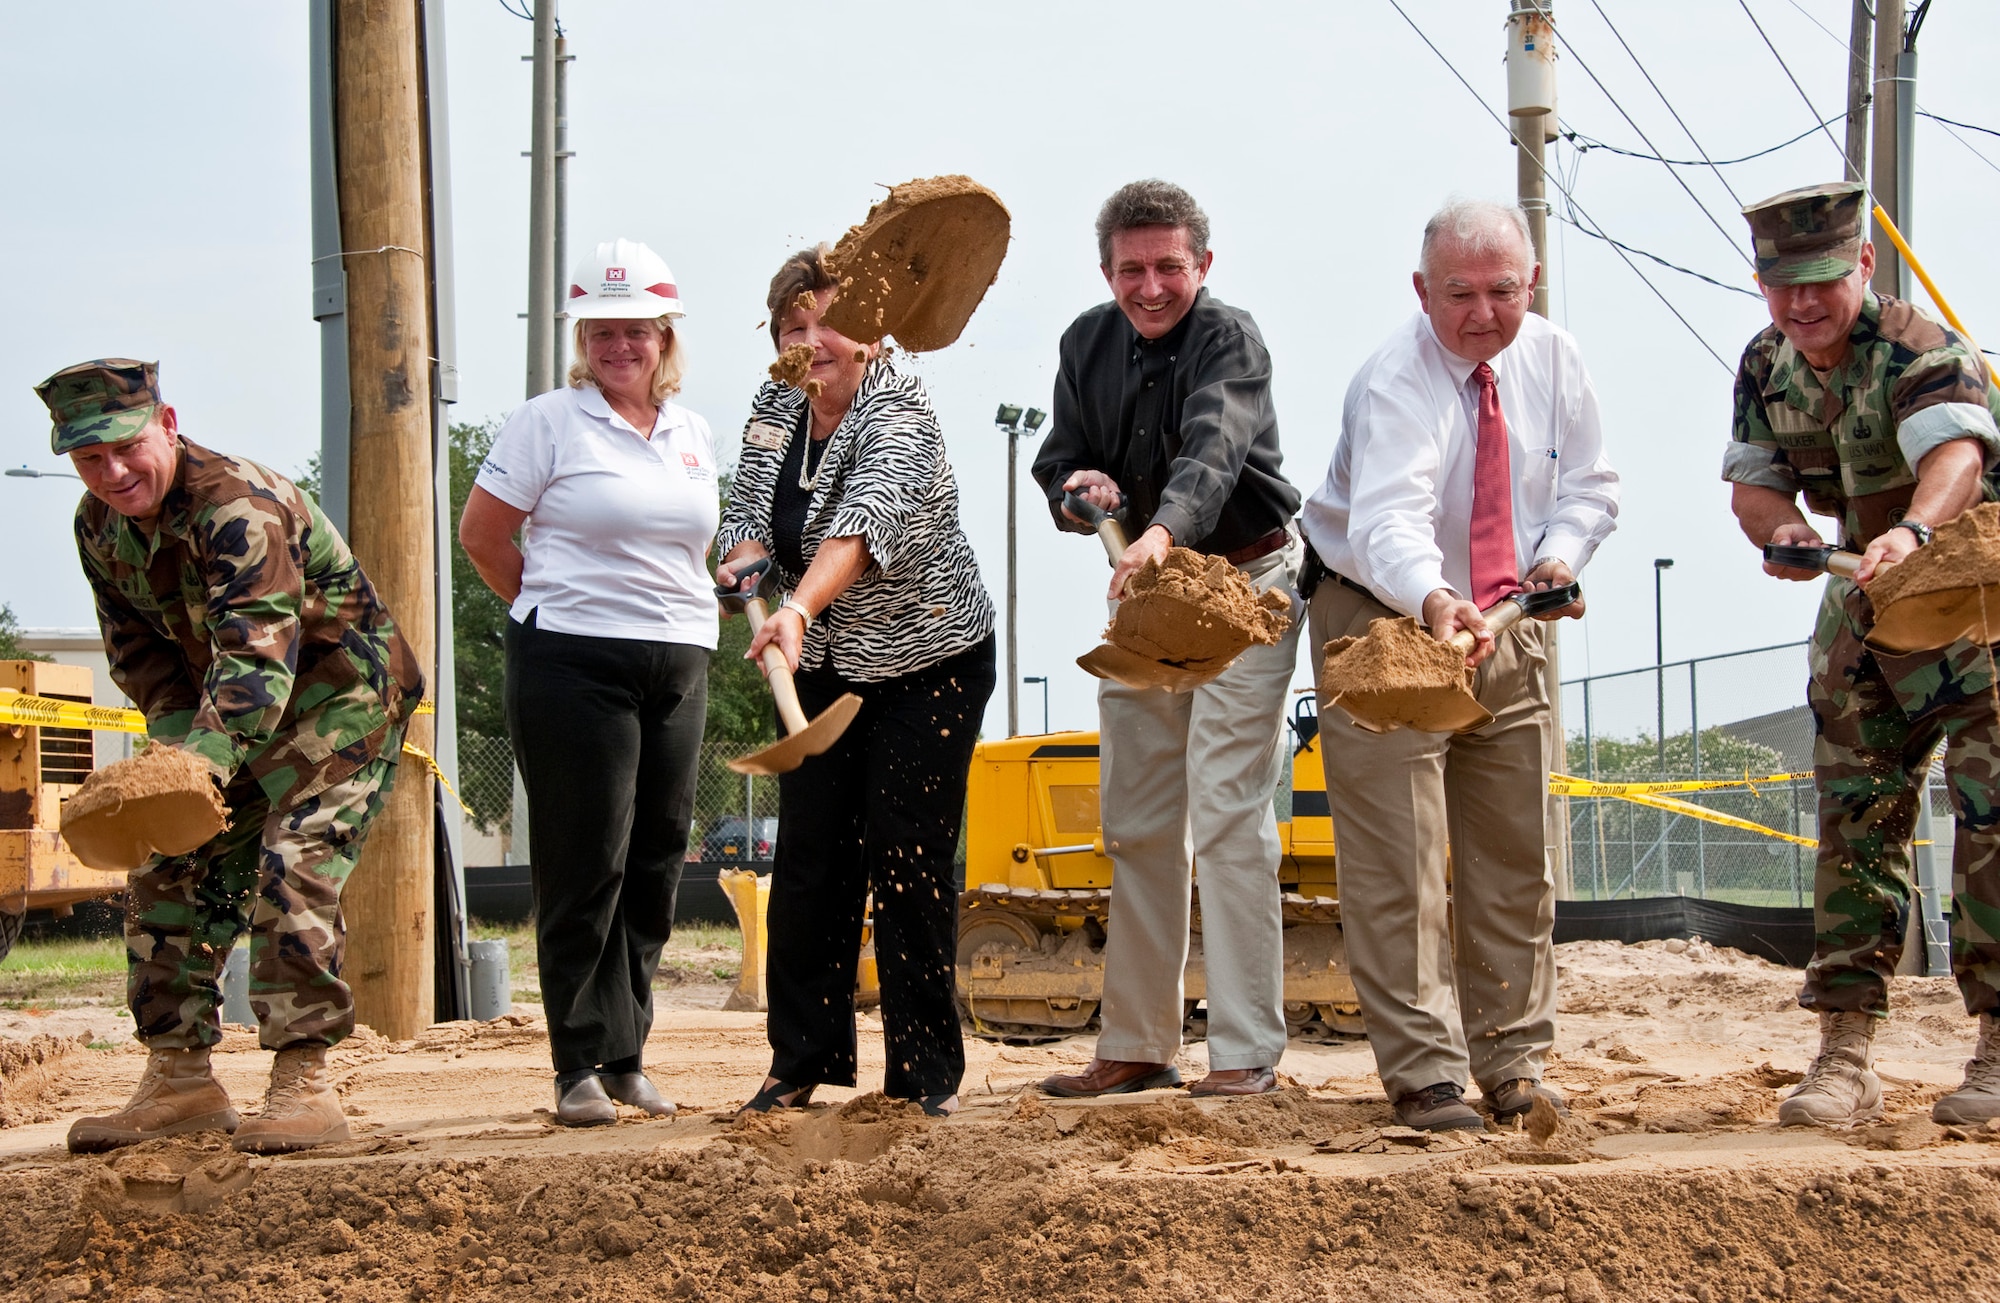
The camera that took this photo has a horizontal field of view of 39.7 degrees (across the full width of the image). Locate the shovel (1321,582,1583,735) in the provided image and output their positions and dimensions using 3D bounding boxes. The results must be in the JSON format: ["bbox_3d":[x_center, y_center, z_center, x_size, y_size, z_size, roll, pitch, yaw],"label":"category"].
[{"bbox_3d":[1.723,0.076,10.860,0.923,0.579,0.471,-4,8,-26],"label":"shovel"}]

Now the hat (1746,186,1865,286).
[{"bbox_3d":[3.317,-1.691,11.365,0.477,0.400,0.294,1,7,14],"label":"hat"}]

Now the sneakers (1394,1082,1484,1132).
[{"bbox_3d":[1.761,1.819,11.053,0.141,0.148,0.372,6,-13,-27],"label":"sneakers"}]

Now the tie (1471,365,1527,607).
[{"bbox_3d":[2.014,-0.647,11.181,0.195,0.979,0.177,-1,0,12],"label":"tie"}]

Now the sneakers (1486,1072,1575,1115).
[{"bbox_3d":[2.152,1.778,11.153,0.148,0.131,0.310,3,-18,-36],"label":"sneakers"}]

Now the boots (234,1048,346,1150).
[{"bbox_3d":[-2.858,1.798,11.135,0.464,0.377,0.293,-6,9,-39],"label":"boots"}]

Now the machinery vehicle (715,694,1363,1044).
[{"bbox_3d":[0.889,1.461,18.236,5.422,2.182,2.146,-1,-2,0],"label":"machinery vehicle"}]

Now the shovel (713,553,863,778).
[{"bbox_3d":[-0.923,0.028,11.064,0.601,1.012,0.321,-29,-41,11],"label":"shovel"}]
